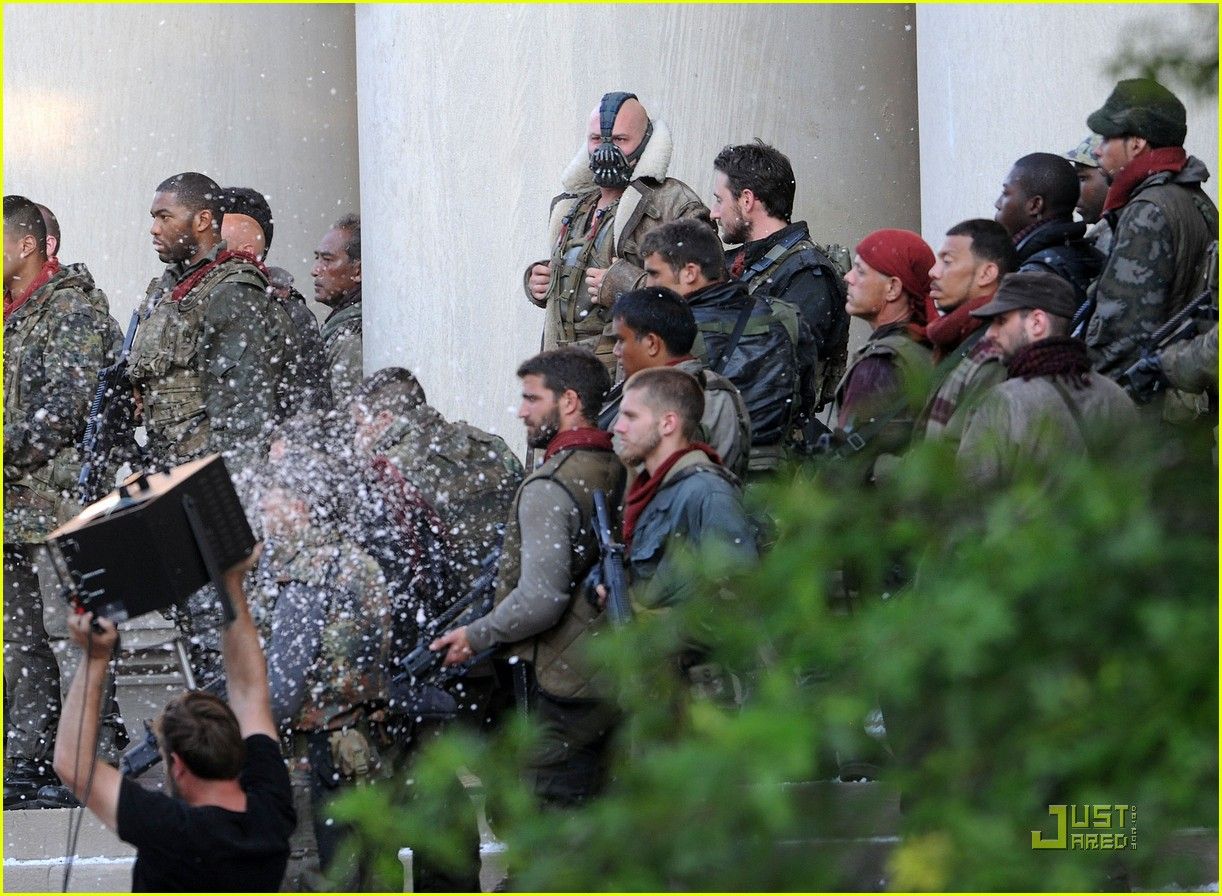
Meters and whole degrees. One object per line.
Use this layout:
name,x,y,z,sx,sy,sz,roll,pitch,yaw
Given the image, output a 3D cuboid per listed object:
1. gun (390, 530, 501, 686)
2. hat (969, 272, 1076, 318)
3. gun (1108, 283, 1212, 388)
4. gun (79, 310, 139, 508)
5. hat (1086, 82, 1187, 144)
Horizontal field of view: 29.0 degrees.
gun,-0.735,0.707,10.307,0.079,0.301,0.590,27,65,36
hat,1.621,-0.612,9.132,0.277,0.155,0.193,5,4,14
gun,2.259,-0.454,9.794,0.167,0.473,0.064,36,28,4
gun,-2.458,-0.181,11.560,0.118,0.924,0.427,8,6,6
hat,2.296,-1.462,10.329,0.442,0.302,0.318,18,14,23
